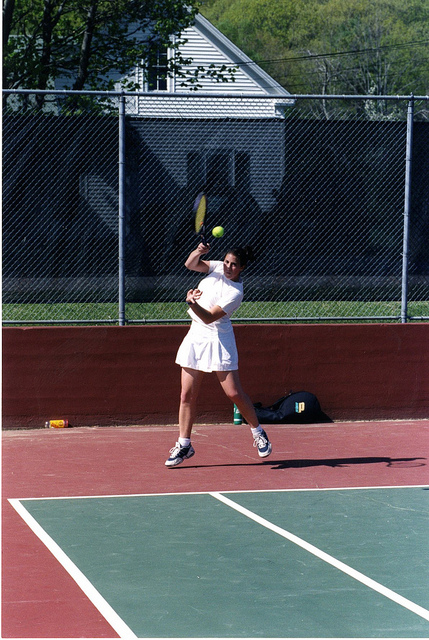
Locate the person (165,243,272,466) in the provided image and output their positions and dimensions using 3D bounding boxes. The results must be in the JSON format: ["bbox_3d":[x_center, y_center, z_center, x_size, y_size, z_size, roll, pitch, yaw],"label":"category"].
[{"bbox_3d":[0.032,0.286,8.046,0.806,1.784,0.576,-3,7,-25],"label":"person"}]

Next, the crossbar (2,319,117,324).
[{"bbox_3d":[-1.522,0.013,10.102,1.101,0.047,0.272,-1,6,-13],"label":"crossbar"}]

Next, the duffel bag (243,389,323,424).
[{"bbox_3d":[0.726,0.877,10.290,0.738,0.328,0.207,-1,7,-15],"label":"duffel bag"}]
